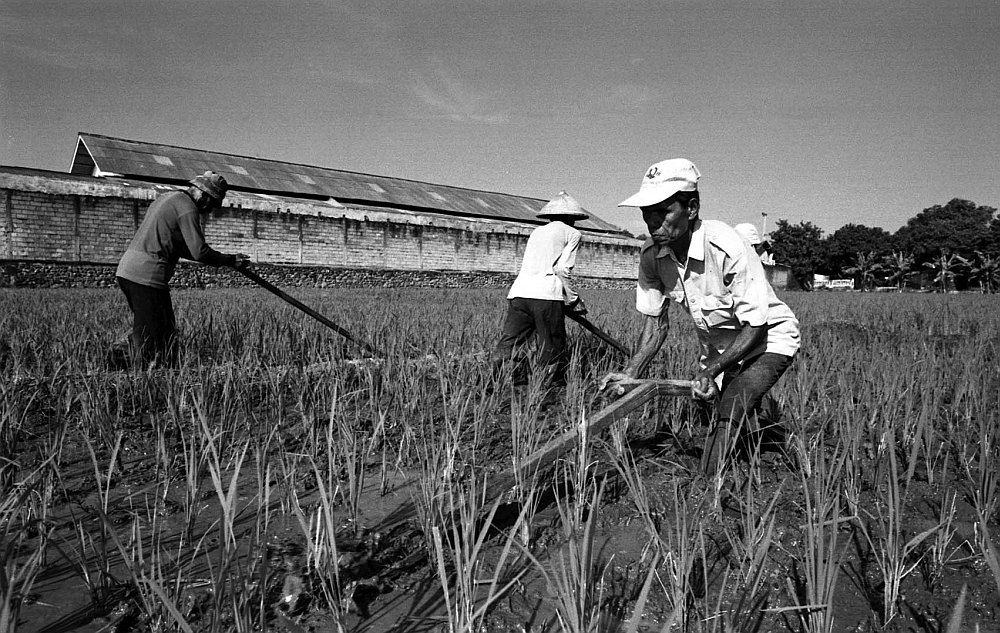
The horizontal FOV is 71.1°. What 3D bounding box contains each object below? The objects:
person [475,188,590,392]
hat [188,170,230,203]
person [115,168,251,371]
[{"bbox_3d":[0.448,-0.306,7.301,0.840,1.975,1.195,4,6,6],"label":"person"},{"bbox_3d":[-2.802,-1.273,6.870,0.289,0.215,0.372,27,7,0],"label":"hat"},{"bbox_3d":[-3.136,-0.479,6.731,0.905,1.842,0.608,0,7,-30],"label":"person"}]
